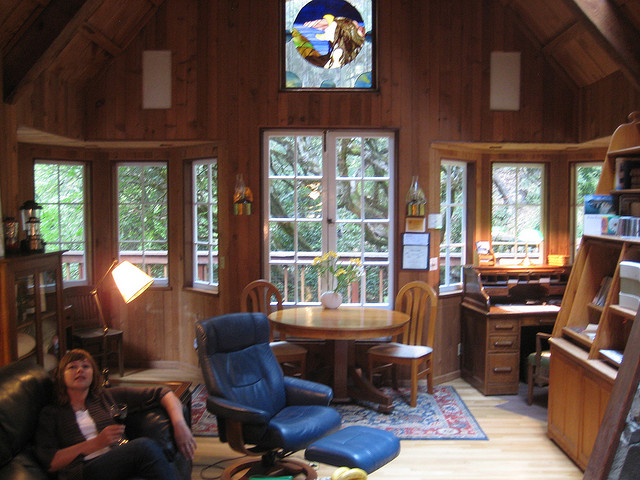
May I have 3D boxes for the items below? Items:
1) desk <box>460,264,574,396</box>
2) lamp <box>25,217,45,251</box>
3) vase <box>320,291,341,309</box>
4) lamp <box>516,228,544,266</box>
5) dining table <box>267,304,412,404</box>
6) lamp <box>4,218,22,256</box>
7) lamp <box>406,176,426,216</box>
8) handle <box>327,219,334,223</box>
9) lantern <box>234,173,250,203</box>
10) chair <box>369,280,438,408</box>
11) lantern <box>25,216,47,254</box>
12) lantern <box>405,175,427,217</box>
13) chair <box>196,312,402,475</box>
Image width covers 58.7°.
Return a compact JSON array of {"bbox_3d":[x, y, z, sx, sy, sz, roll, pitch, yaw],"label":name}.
[{"bbox_3d":[2.248,0.980,6.505,1.051,1.368,0.661,-2,4,-6],"label":"desk"},{"bbox_3d":[-2.753,-0.066,5.388,0.173,0.322,0.173,-2,4,-18],"label":"lamp"},{"bbox_3d":[0.142,0.648,6.302,0.177,0.186,0.186,-1,4,-7],"label":"vase"},{"bbox_3d":[2.550,0.078,6.745,0.320,0.438,0.569,0,4,21],"label":"lamp"},{"bbox_3d":[0.220,1.285,6.001,1.210,0.831,1.222,0,-4,40],"label":"dining table"},{"bbox_3d":[-2.828,-0.045,5.157,0.131,0.315,0.431,-3,5,-28],"label":"lamp"},{"bbox_3d":[1.103,-0.495,6.367,0.204,0.441,0.086,0,4,9],"label":"lamp"},{"bbox_3d":[0.127,-0.223,6.523,0.050,0.054,0.028,0,9,-1],"label":"handle"},{"bbox_3d":[-0.878,-0.587,6.383,0.160,0.331,0.076,-1,4,-1],"label":"lantern"},{"bbox_3d":[0.950,1.087,6.123,0.659,1.276,0.659,-1,1,-38],"label":"chair"},{"bbox_3d":[-2.706,-0.056,5.324,0.148,0.335,0.422,-3,5,-28],"label":"lantern"},{"bbox_3d":[1.122,-0.504,6.443,0.205,0.583,0.209,5,-12,-19],"label":"lantern"},{"bbox_3d":[-0.243,1.315,4.617,1.510,1.321,0.927,2,5,38],"label":"chair"}]
